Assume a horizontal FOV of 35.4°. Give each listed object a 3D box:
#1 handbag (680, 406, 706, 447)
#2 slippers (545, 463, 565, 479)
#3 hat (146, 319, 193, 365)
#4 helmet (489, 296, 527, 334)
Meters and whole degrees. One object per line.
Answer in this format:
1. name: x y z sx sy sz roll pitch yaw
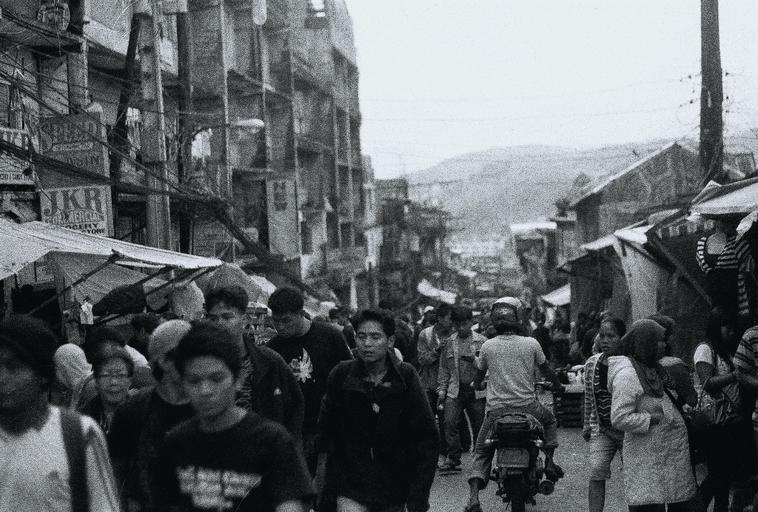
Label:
1. handbag: 3.521 1.925 13.324 0.158 0.483 0.539 -3 -3 42
2. slippers: 2.245 2.704 14.854 0.274 0.229 0.199 -2 6 20
3. hat: -2.054 0.857 11.943 0.405 0.417 0.465 0 -3 -27
4. helmet: 1.652 0.773 15.188 0.380 0.492 0.446 -2 -2 14
